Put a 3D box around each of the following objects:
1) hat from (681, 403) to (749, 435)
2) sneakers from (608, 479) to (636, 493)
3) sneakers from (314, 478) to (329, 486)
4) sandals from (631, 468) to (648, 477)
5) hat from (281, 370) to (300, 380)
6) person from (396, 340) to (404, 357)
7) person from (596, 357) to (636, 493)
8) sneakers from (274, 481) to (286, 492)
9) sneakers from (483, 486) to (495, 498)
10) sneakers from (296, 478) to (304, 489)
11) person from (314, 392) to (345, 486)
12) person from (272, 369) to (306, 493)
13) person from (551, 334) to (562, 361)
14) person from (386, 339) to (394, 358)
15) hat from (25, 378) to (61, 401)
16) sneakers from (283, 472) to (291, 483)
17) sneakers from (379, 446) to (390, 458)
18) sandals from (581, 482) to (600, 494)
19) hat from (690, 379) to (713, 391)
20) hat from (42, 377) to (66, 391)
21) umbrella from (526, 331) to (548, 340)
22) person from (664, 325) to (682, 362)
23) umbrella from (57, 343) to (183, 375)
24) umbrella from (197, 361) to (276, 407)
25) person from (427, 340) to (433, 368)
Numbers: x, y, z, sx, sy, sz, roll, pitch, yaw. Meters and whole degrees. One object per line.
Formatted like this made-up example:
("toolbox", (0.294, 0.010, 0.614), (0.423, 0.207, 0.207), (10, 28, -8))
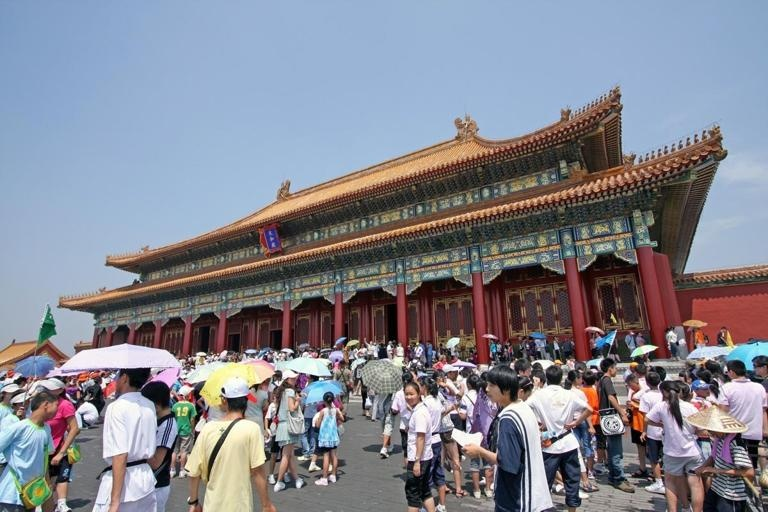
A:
("hat", (5.493, 2.731, 8.123), (0.604, 0.228, 0.592), (-3, 1, -5))
("sneakers", (4.909, 4.732, 10.128), (0.385, 0.150, 0.192), (-15, -21, 42))
("sneakers", (-1.373, 5.005, 10.896), (0.301, 0.127, 0.116), (2, -19, 0))
("sandals", (5.628, 4.709, 10.705), (0.462, 0.188, 0.167), (-2, -18, 14))
("hat", (-2.179, 2.721, 11.301), (0.319, 0.123, 0.222), (-5, -5, 9))
("person", (0.708, 4.075, 21.597), (0.510, 0.776, 0.408), (1, -31, 1))
("person", (4.776, 3.506, 10.295), (0.534, 2.654, 0.698), (-10, -17, 19))
("sneakers", (-2.257, 4.984, 10.665), (0.121, 0.123, 0.291), (-1, -4, 16))
("sneakers", (2.156, 4.852, 10.100), (0.119, 0.076, 0.278), (-1, -8, 0))
("sneakers", (-1.846, 4.986, 10.811), (0.186, 0.176, 0.249), (-7, -16, 11))
("person", (-1.267, 4.147, 11.284), (0.660, 1.959, 1.105), (-2, -16, -7))
("person", (-2.070, 3.918, 11.120), (0.877, 2.408, 0.848), (6, -17, -30))
("person", (7.672, 4.082, 21.917), (0.450, 1.069, 0.428), (-16, -20, 36))
("person", (0.272, 4.409, 23.126), (0.344, 1.038, 0.632), (-1, -6, -22))
("hat", (-5.864, 2.297, 8.522), (0.395, 0.189, 0.566), (-3, -15, -6))
("sneakers", (-2.195, 5.055, 11.217), (0.078, 0.159, 0.227), (2, -53, -5))
("sneakers", (0.018, 4.967, 12.460), (0.232, 0.256, 0.494), (-3, -16, -1))
("sandals", (4.270, 4.798, 10.181), (0.344, 0.154, 0.153), (0, -9, -15))
("hat", (6.247, 2.566, 9.803), (0.260, 0.211, 0.394), (-1, -19, -31))
("hat", (-5.790, 2.239, 8.616), (0.345, 0.228, 0.478), (6, -19, -30))
("umbrella", (6.763, 3.492, 21.730), (0.800, 0.407, 1.690), (-8, -17, 15))
("person", (10.900, 3.254, 18.507), (0.701, 1.209, 0.440), (9, -21, -37))
("umbrella", (-4.337, 1.694, 8.170), (1.425, 0.435, 1.056), (1, -17, -18))
("umbrella", (-2.630, 2.174, 8.758), (1.205, 0.388, 1.196), (-10, 5, -19))
("person", (2.169, 4.615, 23.270), (0.379, 1.148, 0.882), (-5, -16, 4))
